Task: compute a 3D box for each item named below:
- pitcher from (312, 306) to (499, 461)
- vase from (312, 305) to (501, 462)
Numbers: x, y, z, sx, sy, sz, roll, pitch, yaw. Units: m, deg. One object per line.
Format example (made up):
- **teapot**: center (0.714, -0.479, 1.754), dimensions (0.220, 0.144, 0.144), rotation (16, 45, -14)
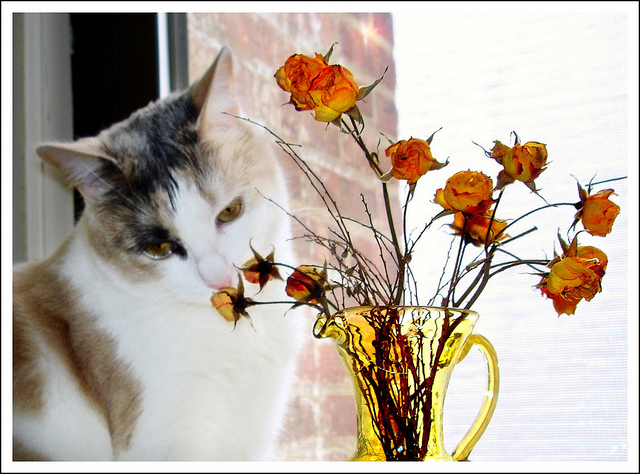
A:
- **pitcher**: center (0.213, 0.273, 1.806), dimensions (0.371, 0.380, 0.253), rotation (6, 7, 16)
- **vase**: center (0.178, 0.295, 1.709), dimensions (0.351, 0.307, 0.298), rotation (6, -12, -20)
